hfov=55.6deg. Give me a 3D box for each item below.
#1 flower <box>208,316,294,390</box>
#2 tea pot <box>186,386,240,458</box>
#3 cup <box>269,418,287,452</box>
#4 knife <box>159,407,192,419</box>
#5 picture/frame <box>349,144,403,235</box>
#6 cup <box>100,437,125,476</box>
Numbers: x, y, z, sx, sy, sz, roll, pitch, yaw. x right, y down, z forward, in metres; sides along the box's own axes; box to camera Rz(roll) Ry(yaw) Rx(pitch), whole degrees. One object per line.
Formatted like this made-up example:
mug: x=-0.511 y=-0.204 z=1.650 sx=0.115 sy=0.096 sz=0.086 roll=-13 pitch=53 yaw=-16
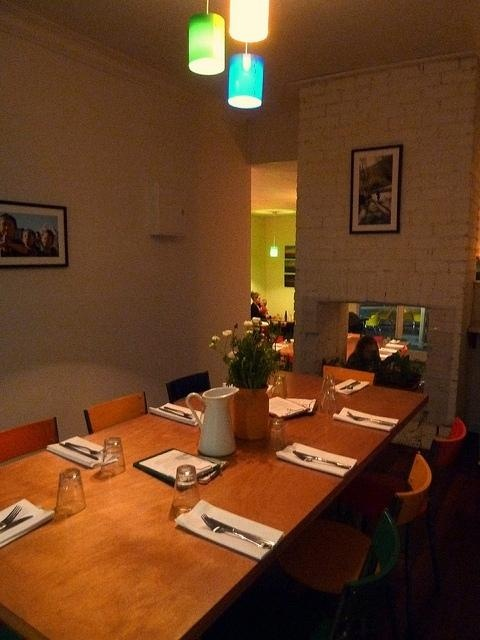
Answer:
flower: x=0.038 y=0.133 z=1.850 sx=0.247 sy=0.312 sz=0.271 roll=-6 pitch=-16 yaw=5
tea pot: x=-0.110 y=0.355 z=1.751 sx=0.238 sy=0.299 sz=0.168 roll=6 pitch=10 yaw=29
cup: x=0.139 y=0.425 z=1.698 sx=0.081 sy=0.141 sz=0.090 roll=0 pitch=1 yaw=11
knife: x=-0.300 y=0.425 z=2.101 sx=0.197 sy=0.020 sz=0.056 roll=12 pitch=15 yaw=41
picture/frame: x=1.021 y=-0.974 z=3.425 sx=0.353 sy=0.671 sz=0.016 roll=1 pitch=39 yaw=16
cup: x=-0.425 y=0.453 z=1.514 sx=0.078 sy=0.112 sz=0.104 roll=0 pitch=-3 yaw=-5
